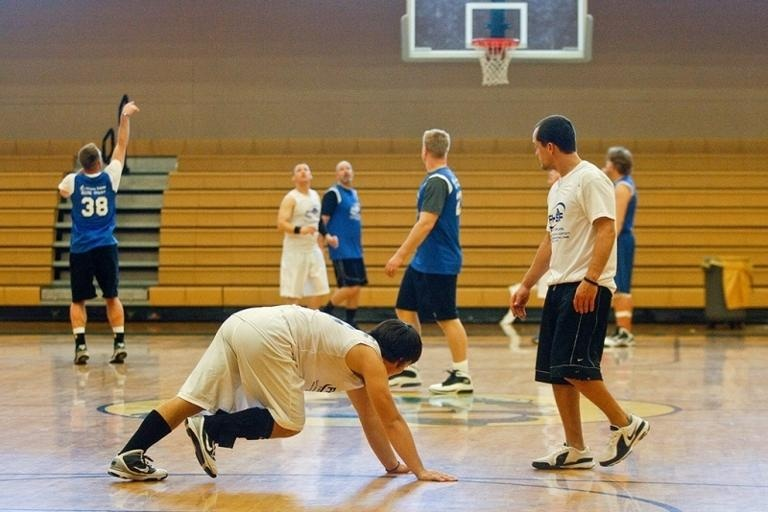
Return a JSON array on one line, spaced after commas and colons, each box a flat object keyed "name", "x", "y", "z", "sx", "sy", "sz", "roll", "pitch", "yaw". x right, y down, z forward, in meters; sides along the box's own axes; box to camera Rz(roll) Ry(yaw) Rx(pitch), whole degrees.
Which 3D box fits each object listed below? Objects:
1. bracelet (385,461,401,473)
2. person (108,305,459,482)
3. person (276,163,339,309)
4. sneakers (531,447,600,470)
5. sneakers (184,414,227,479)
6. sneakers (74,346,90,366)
[{"name": "bracelet", "x": 0.084, "y": 1.818, "z": 9.032, "sx": 0.141, "sy": 0.054, "sz": 0.069, "roll": -2, "pitch": 3, "yaw": -16}, {"name": "person", "x": -0.804, "y": 1.231, "z": 9.179, "sx": 3.100, "sy": 1.501, "sz": 0.925, "roll": 4, "pitch": -2, "yaw": -22}, {"name": "person", "x": -1.056, "y": -0.257, "z": 13.463, "sx": 0.602, "sy": 1.862, "sz": 1.086, "roll": -2, "pitch": 3, "yaw": -5}, {"name": "sneakers", "x": 1.606, "y": 1.784, "z": 9.264, "sx": 0.541, "sy": 0.209, "sz": 0.200, "roll": 1, "pitch": -6, "yaw": -3}, {"name": "sneakers", "x": -1.506, "y": 1.579, "z": 8.893, "sx": 0.261, "sy": 0.568, "sz": 0.198, "roll": -25, "pitch": 15, "yaw": -4}, {"name": "sneakers", "x": -3.588, "y": 1.156, "z": 12.348, "sx": 0.165, "sy": 0.230, "sz": 0.271, "roll": -2, "pitch": 3, "yaw": -16}]
